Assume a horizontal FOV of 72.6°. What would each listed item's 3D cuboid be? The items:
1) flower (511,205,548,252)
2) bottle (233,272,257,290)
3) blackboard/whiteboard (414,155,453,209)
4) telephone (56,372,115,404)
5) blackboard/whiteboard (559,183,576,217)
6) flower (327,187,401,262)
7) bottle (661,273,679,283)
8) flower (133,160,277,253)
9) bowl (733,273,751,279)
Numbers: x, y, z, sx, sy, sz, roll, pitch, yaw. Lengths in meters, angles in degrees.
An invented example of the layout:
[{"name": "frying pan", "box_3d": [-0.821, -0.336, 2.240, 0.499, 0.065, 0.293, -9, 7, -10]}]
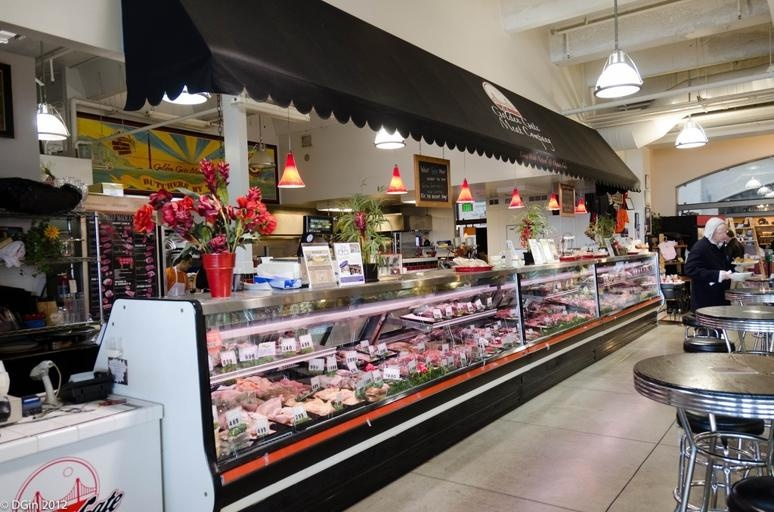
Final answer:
[{"name": "flower", "box_3d": [2.070, -0.383, 7.514, 0.439, 0.538, 0.455, 12, 10, 29]}, {"name": "bottle", "box_3d": [-1.212, 0.184, 4.437, 0.173, 0.150, 0.258, -3, 14, -16]}, {"name": "blackboard/whiteboard", "box_3d": [0.610, -0.951, 6.637, 0.301, 0.621, 0.812, 9, 16, 31]}, {"name": "telephone", "box_3d": [-2.161, 0.949, 3.814, 0.243, 0.156, 0.273, 9, 10, 43]}, {"name": "blackboard/whiteboard", "box_3d": [3.921, -1.188, 11.429, 0.071, 0.693, 1.305, -2, 2, 32]}, {"name": "flower", "box_3d": [-0.228, -0.245, 4.961, 0.487, 0.654, 0.453, 0, 14, -3]}, {"name": "bottle", "box_3d": [6.191, 0.498, 11.513, 0.478, 0.132, 0.344, 0, 3, 17]}, {"name": "flower", "box_3d": [-1.353, -0.291, 3.973, 1.122, 0.824, 0.818, -1, -3, -31]}, {"name": "bowl", "box_3d": [4.395, 0.248, 6.508, 0.139, 0.041, 0.138, 0, 0, 0]}]
